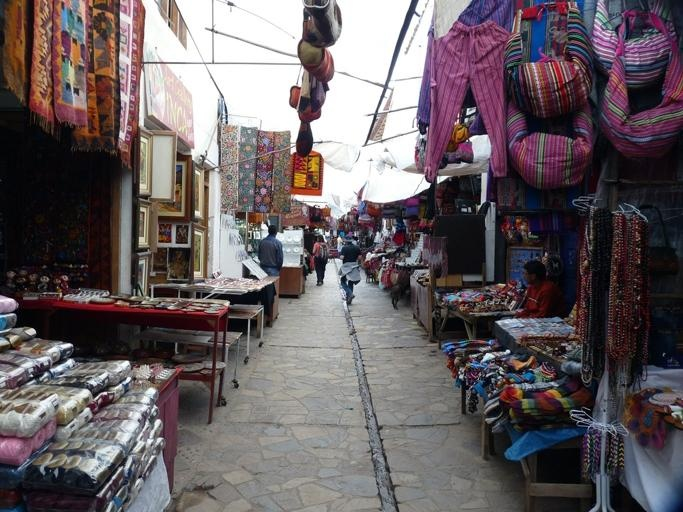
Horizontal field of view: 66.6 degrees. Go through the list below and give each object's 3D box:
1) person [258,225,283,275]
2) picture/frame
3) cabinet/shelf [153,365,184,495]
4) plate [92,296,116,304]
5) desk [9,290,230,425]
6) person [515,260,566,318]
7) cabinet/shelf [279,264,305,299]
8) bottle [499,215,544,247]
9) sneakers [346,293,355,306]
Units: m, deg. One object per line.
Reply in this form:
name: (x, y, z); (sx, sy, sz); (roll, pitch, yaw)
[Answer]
person: (-1.614, -0.108, 11.946); (0.512, 1.047, 0.456); (0, 4, -13)
picture/frame: (-2.295, -0.605, 7.195); (0.748, 2.169, 2.328); (0, 4, -11)
cabinet/shelf: (-1.431, 1.438, 4.319); (0.107, 0.913, 0.463); (0, 4, -10)
plate: (-2.423, 0.454, 5.290); (0.229, 0.051, 0.130); (-1, 5, -29)
desk: (-2.164, 1.045, 5.547); (1.834, 1.339, 0.579); (1, 4, -3)
person: (2.453, 0.465, 6.494); (0.569, 0.843, 0.600); (-4, 5, 16)
cabinet/shelf: (-1.464, 0.715, 15.054); (0.663, 0.923, 0.639); (0, 4, -9)
bottle: (2.191, -0.296, 6.304); (0.498, 0.386, 0.234); (21, -21, -26)
sneakers: (0.254, 1.215, 13.970); (0.117, 0.393, 0.258); (-1, 32, -14)
